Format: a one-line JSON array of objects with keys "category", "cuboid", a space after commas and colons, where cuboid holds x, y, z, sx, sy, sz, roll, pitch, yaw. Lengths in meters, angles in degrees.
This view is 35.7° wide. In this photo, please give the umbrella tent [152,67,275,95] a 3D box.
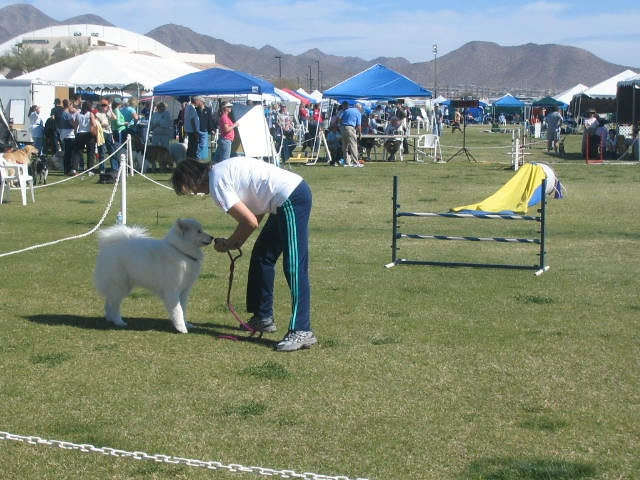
[{"category": "umbrella tent", "cuboid": [-2.567, -3.872, 24.176, 2.863, 0.695, 1.918, 0, 7, 1]}]

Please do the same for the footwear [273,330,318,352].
[{"category": "footwear", "cuboid": [-0.261, 1.103, 10.938, 0.468, 0.232, 0.176, -2, 3, -24]}]

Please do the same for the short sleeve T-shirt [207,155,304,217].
[{"category": "short sleeve T-shirt", "cuboid": [-0.806, -0.567, 10.767, 0.995, 0.513, 0.901, 0, -20, -29]}]
